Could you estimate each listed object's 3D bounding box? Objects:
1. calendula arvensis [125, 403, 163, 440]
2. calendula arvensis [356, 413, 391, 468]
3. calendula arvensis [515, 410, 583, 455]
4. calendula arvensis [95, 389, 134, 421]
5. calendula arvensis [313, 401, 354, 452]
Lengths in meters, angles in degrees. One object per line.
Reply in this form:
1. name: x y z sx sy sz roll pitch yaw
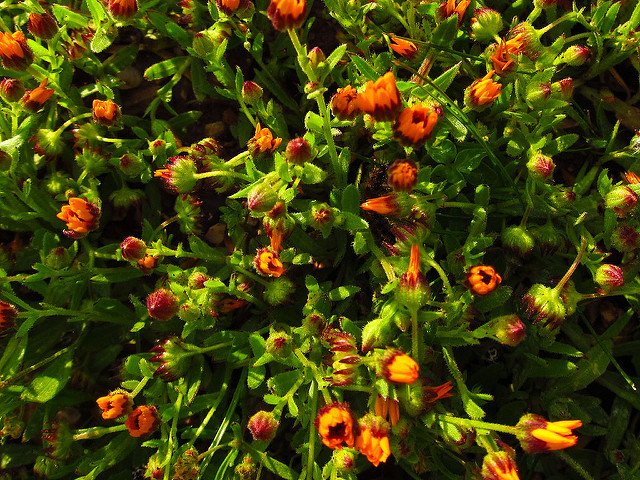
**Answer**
1. calendula arvensis: -0.709 0.726 2.320 0.124 0.090 0.110 -23 77 -8
2. calendula arvensis: 0.197 0.716 2.152 0.115 0.117 0.185 -8 50 -12
3. calendula arvensis: 0.818 0.704 2.082 0.106 0.222 0.147 -31 119 -45
4. calendula arvensis: -0.800 0.651 2.294 0.115 0.132 0.112 5 74 -1
5. calendula arvensis: 0.060 0.654 2.086 0.140 0.085 0.162 -2 89 9
